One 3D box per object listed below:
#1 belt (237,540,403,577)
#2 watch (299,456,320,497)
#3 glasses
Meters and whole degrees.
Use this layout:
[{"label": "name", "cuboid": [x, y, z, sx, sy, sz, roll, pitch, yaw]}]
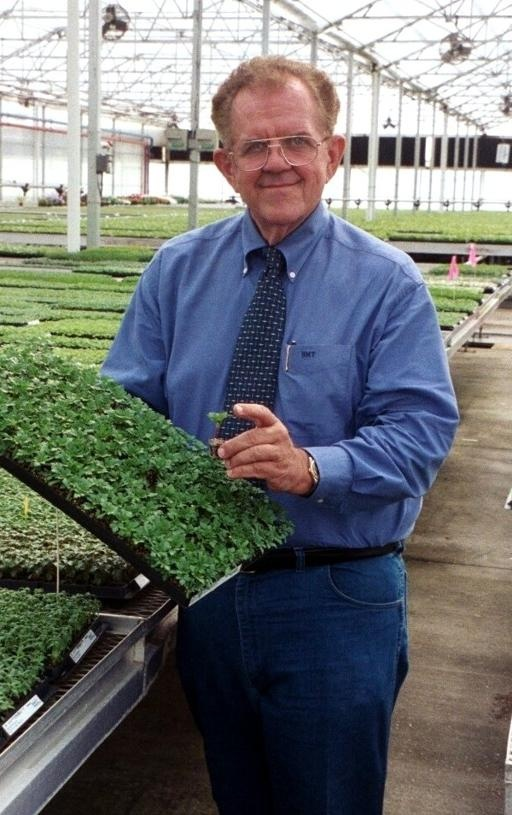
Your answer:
[{"label": "belt", "cuboid": [0.140, 0.310, 1.491, 0.318, 0.058, 0.053, -3, 12, -13]}, {"label": "watch", "cuboid": [0.106, 0.121, 1.308, 0.024, 0.058, 0.046, 0, -7, -30]}, {"label": "glasses", "cuboid": [0.043, -0.507, 1.464, 0.208, 0.076, 0.136, 1, 12, 4]}]
